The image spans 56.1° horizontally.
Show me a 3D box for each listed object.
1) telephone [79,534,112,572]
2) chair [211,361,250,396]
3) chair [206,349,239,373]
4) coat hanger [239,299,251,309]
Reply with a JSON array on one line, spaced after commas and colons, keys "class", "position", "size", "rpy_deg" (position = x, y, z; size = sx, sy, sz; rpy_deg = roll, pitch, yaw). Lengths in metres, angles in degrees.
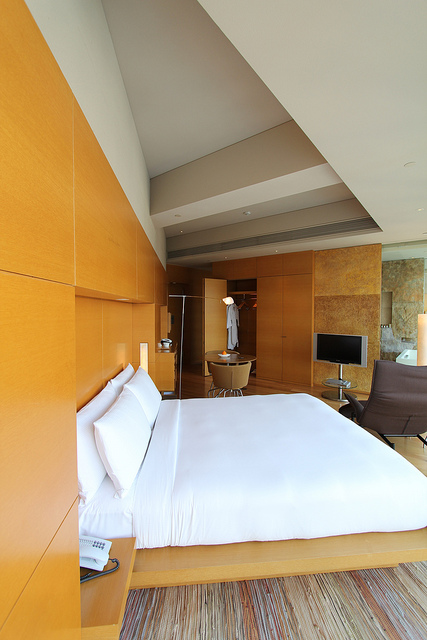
[{"class": "telephone", "position": [-0.457, 0.893, 1.537], "size": [0.127, 0.039, 0.112], "rpy_deg": [7, 34, 1]}, {"class": "chair", "position": [0.210, 0.691, 4.933], "size": [0.441, 0.531, 0.428], "rpy_deg": [0, 6, 0]}, {"class": "chair", "position": [0.119, 0.633, 6.547], "size": [0.406, 0.493, 0.389], "rpy_deg": [0, -6, -6]}, {"class": "coat hanger", "position": [0.624, -0.340, 7.893], "size": [0.146, 0.169, 0.041], "rpy_deg": [4, 9, 8]}]
